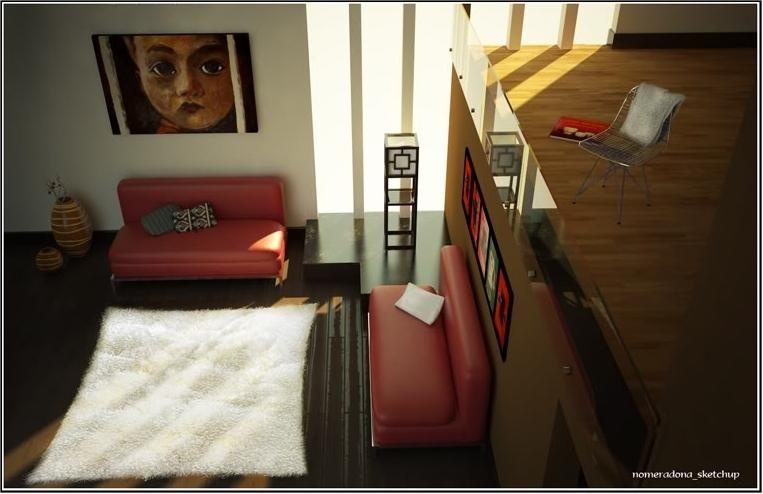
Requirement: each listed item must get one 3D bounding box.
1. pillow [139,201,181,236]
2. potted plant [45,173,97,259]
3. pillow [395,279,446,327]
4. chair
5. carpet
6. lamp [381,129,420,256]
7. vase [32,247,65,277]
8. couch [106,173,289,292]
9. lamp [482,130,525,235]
[{"bbox_3d":[-3.676,-0.463,8.486,0.210,0.527,0.802,16,-4,-28],"label":"pillow"},{"bbox_3d":[-5.029,-0.467,8.405,0.531,1.260,0.572,-13,21,-29],"label":"potted plant"},{"bbox_3d":[0.507,0.742,6.838,0.509,0.152,0.488,21,50,21],"label":"pillow"},{"bbox_3d":[2.893,-1.167,6.145,0.955,1.230,0.745,-23,40,-20],"label":"chair"},{"bbox_3d":[-2.449,1.818,6.703,3.004,1.090,2.069,-2,17,-1],"label":"carpet"},{"bbox_3d":[0.289,-0.863,8.140,0.769,2.307,0.748,-1,41,-1],"label":"lamp"},{"bbox_3d":[-5.213,0.173,8.257,0.424,0.399,0.419,14,26,15],"label":"vase"},{"bbox_3d":[-2.824,-0.327,8.352,3.359,1.643,1.559,-1,48,-3],"label":"couch"},{"bbox_3d":[1.263,-0.667,5.367,0.441,1.309,0.475,-5,41,5],"label":"lamp"}]
